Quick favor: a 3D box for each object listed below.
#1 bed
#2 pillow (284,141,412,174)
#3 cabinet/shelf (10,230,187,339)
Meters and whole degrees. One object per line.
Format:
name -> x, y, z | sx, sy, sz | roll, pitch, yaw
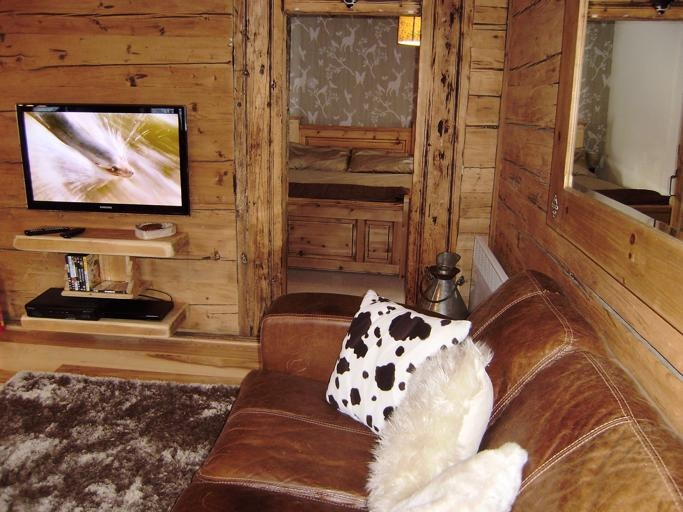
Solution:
bed -> 0.029, -0.694, 5.632 | 1.592, 0.863, 1.640 | 2, 32, 7
pillow -> 0.105, -1.077, 6.094 | 1.809, 0.484, 0.159 | 0, -21, -5
cabinet/shelf -> -1.459, 0.074, 3.784 | 1.596, 0.725, 0.722 | 2, 13, 5
